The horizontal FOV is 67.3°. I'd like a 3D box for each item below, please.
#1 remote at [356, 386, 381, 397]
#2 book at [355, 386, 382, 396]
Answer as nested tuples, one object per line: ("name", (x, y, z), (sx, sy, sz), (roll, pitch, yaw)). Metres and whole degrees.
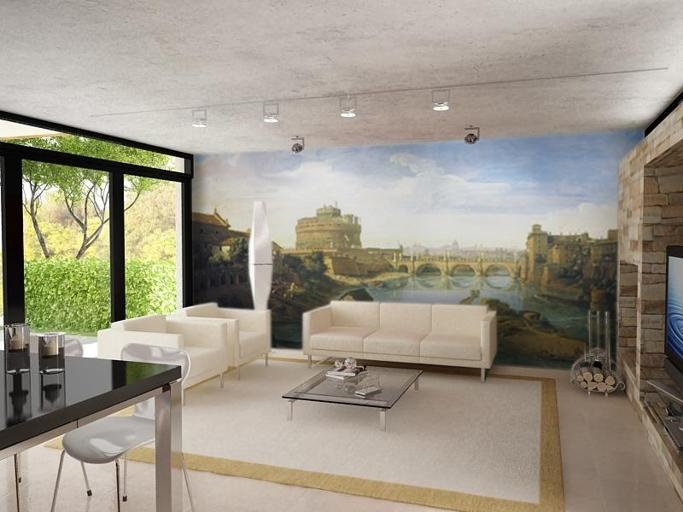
("remote", (0.253, 1.337, 5.095), (0.095, 0.086, 0.089), (-1, -2, -36))
("book", (0.261, 1.348, 5.121), (0.177, 0.032, 0.312), (-5, -1, 18))
